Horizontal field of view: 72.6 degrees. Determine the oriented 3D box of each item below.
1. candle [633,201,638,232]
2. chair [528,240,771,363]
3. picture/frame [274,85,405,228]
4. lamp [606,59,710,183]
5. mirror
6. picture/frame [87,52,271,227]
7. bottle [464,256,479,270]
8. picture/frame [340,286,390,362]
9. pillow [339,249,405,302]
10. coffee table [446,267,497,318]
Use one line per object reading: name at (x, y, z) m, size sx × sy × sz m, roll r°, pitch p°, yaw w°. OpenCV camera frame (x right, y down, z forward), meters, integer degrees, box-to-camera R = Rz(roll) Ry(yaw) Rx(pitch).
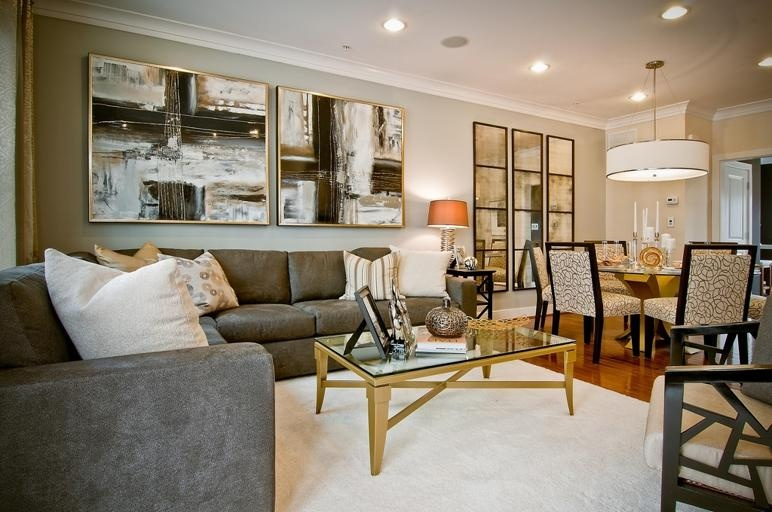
candle at (3.376, -0.534, 7.084) m, size 0.067 × 0.398 × 0.582 m, roll 2°, pitch 5°, yaw 25°
chair at (2.582, 0.373, 5.011) m, size 0.923 × 1.086 × 1.700 m, roll 1°, pitch 0°, yaw -23°
picture/frame at (-0.546, -1.041, 5.492) m, size 1.634 × 1.506 × 0.066 m, roll 0°, pitch 3°, yaw -32°
lamp at (2.672, -1.386, 5.220) m, size 0.924 × 1.054 × 0.936 m, roll 0°, pitch 6°, yaw 23°
mirror at (1.671, -0.635, 6.570) m, size 2.268 × 2.606 × 0.098 m, roll 2°, pitch -3°, yaw -34°
picture/frame at (-1.880, -1.040, 4.832) m, size 1.577 × 1.373 × 0.031 m, roll 2°, pitch 3°, yaw -13°
bottle at (0.944, 0.082, 5.843) m, size 0.134 × 0.129 × 0.136 m, roll -3°, pitch -3°, yaw 27°
picture/frame at (-0.038, 0.423, 3.506) m, size 0.411 × 0.542 × 0.402 m, roll 2°, pitch -2°, yaw 7°
pillow at (-0.134, 0.193, 4.814) m, size 0.472 × 0.398 × 0.180 m, roll 1°, pitch -37°, yaw 0°
coffee table at (0.861, 0.357, 5.353) m, size 0.252 × 0.550 × 0.598 m, roll 1°, pitch -3°, yaw -9°
